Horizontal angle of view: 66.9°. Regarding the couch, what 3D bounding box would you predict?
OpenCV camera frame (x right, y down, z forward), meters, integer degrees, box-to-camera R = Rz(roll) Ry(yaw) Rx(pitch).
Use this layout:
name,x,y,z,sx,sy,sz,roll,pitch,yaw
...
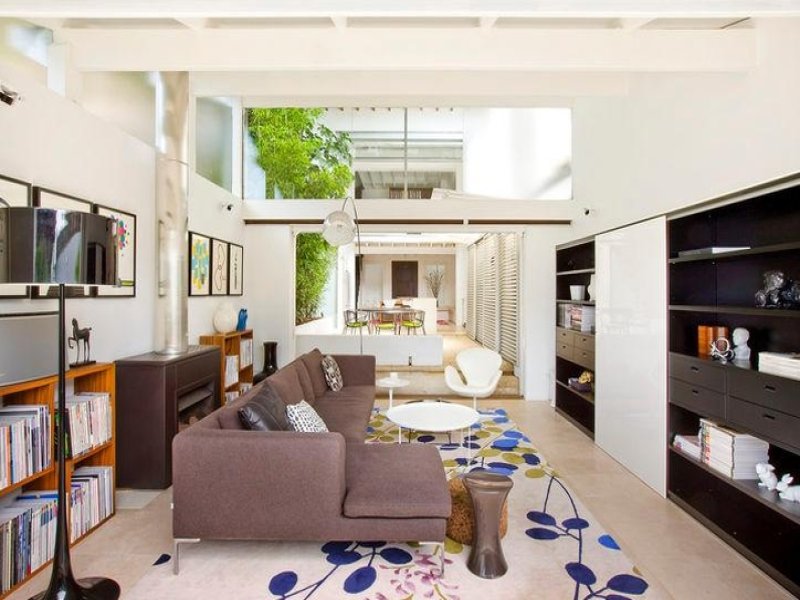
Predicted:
name,x,y,z,sx,sy,sz,roll,pitch,yaw
couch,-0.675,1.181,5.134,1.954,1.044,2.047,0,11,-1

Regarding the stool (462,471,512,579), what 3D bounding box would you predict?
name,x,y,z,sx,sy,sz,roll,pitch,yaw
stool,0.619,1.576,4.361,0.328,0.610,0.484,1,11,6

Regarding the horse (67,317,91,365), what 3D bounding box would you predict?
name,x,y,z,sx,sy,sz,roll,pitch,yaw
horse,-2.543,0.312,4.792,0.158,0.373,0.237,-7,12,-32

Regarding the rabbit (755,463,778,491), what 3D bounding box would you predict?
name,x,y,z,sx,sy,sz,roll,pitch,yaw
rabbit,2.684,1.288,4.458,0.140,0.211,0.196,2,2,28

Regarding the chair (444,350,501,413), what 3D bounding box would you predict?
name,x,y,z,sx,sy,sz,roll,pitch,yaw
chair,0.875,0.964,7.287,0.621,0.875,0.683,0,-1,17

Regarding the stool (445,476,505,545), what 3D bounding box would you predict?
name,x,y,z,sx,sy,sz,roll,pitch,yaw
stool,0.541,1.586,4.706,0.440,0.469,0.466,2,-5,-9

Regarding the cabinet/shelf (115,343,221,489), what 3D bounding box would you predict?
name,x,y,z,sx,sy,sz,roll,pitch,yaw
cabinet/shelf,-1.954,0.961,4.976,0.299,0.717,1.176,-1,2,-4
